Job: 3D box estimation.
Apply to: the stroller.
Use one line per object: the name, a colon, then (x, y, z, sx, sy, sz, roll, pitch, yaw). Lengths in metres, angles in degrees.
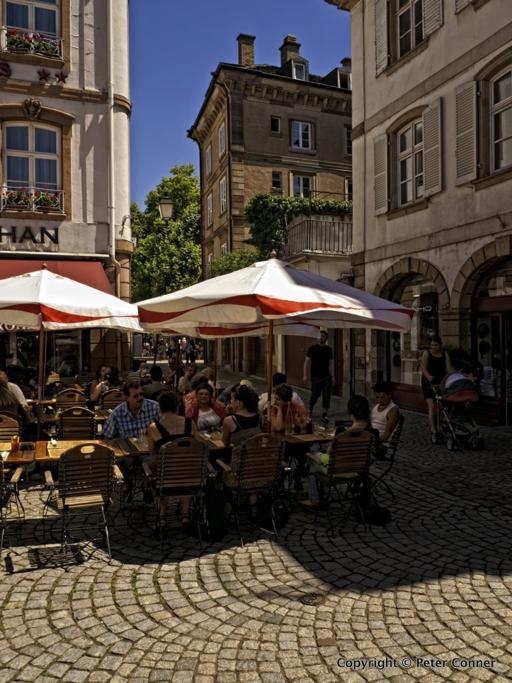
stroller: (2.905, 0.981, 11.512, 0.583, 1.075, 0.932, 0, 6, 2)

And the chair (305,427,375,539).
chair: (0.854, 1.269, 8.032, 0.624, 0.969, 1.105, -1, 6, -3)

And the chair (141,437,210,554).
chair: (-0.737, 1.303, 7.389, 0.581, 0.978, 0.665, -1, 6, -5)

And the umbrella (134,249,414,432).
umbrella: (0.206, -0.378, 8.727, 2.195, 1.150, 2.217, 0, 1, 10)

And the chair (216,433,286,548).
chair: (-0.047, 1.315, 7.597, 0.607, 0.978, 0.976, 0, 6, -1)
